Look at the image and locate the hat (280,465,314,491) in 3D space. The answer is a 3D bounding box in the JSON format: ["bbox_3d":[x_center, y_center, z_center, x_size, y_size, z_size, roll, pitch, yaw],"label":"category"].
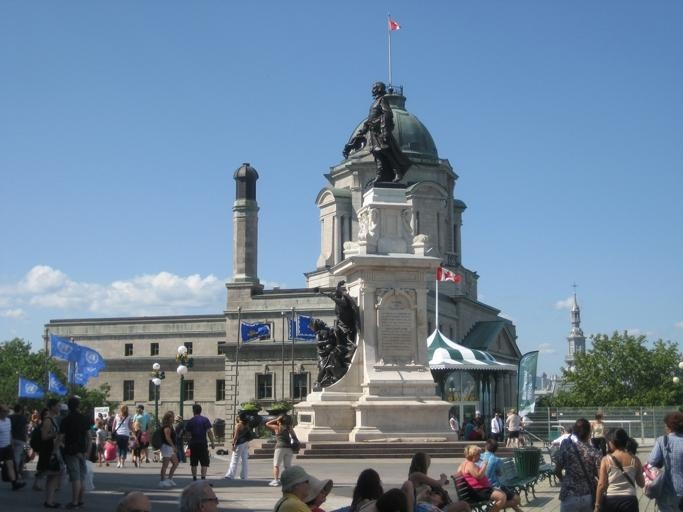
[{"bbox_3d":[-1.297,6.265,42.497,0.803,0.722,0.278,-1,-10,-3],"label":"hat"}]

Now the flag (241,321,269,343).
[{"bbox_3d":[-5.522,4.870,96.871,1.488,1.085,0.254,0,-3,-4],"label":"flag"}]

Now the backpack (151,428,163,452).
[{"bbox_3d":[-6.382,6.376,52.817,0.384,0.787,0.925,0,-10,-10],"label":"backpack"}]

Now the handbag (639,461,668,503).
[{"bbox_3d":[9.098,6.645,44.383,0.432,1.035,0.839,4,-11,-30],"label":"handbag"}]

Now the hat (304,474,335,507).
[{"bbox_3d":[-0.619,6.670,42.893,0.446,0.863,0.714,26,-21,0],"label":"hat"}]

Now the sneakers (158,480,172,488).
[{"bbox_3d":[-6.081,7.927,52.451,0.359,0.154,0.197,-15,-16,42],"label":"sneakers"}]

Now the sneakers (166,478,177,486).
[{"bbox_3d":[-5.905,7.927,52.886,0.224,0.268,0.608,3,-4,0],"label":"sneakers"}]
